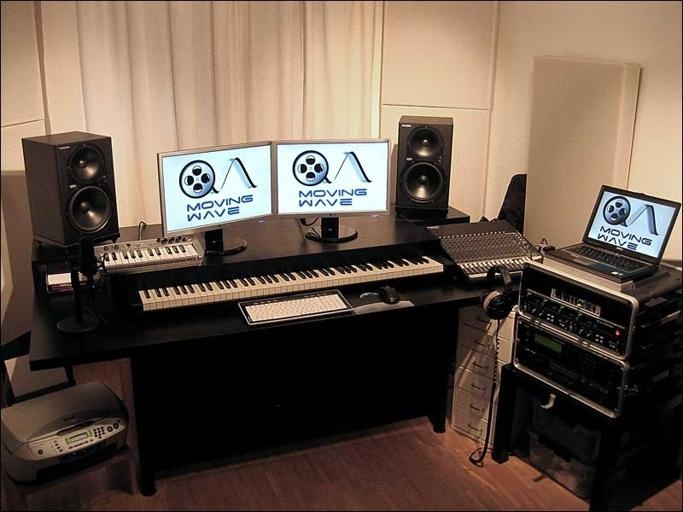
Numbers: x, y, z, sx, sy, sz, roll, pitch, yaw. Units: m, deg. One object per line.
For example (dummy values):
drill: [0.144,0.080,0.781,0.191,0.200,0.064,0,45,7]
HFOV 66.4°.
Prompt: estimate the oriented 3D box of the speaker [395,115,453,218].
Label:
speaker: [0.547,-0.586,3.389,0.402,0.583,0.368,11,22,27]

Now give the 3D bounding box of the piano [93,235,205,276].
piano: [-0.957,-0.015,2.610,0.494,0.083,0.281,-10,19,-24]

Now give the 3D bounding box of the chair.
chair: [-1.223,0.763,2.297,0.560,0.378,0.719,-12,26,-34]

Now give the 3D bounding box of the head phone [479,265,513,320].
head phone: [0.773,0.186,2.611,0.134,0.281,0.226,-2,13,-12]

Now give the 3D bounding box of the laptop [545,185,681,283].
laptop: [1.232,-0.111,2.396,0.333,0.351,0.433,-14,21,-32]

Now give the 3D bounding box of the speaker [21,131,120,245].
speaker: [-1.432,-0.334,2.749,0.472,0.553,0.279,-6,18,-11]

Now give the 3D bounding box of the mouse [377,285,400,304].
mouse: [0.231,0.195,2.575,0.103,0.069,0.095,0,18,6]

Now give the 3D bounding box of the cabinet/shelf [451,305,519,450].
cabinet/shelf: [0.850,0.681,2.863,0.227,0.605,0.268,7,-4,-15]

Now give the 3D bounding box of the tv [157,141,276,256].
tv: [-0.638,-0.287,2.684,0.545,0.460,0.213,-13,25,-32]

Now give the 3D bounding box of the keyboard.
keyboard: [-0.217,0.244,2.479,0.512,0.065,0.204,-7,18,-16]
